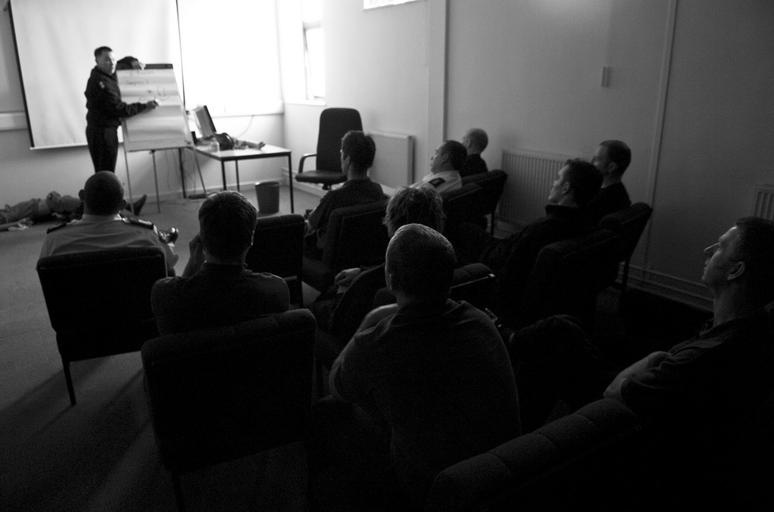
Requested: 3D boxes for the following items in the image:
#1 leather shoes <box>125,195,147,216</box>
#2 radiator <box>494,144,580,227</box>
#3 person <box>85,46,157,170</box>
[{"bbox_3d":[-2.895,-0.580,6.491,0.151,0.188,0.456,5,36,-22],"label":"leather shoes"},{"bbox_3d":[1.262,-0.611,4.670,0.708,0.732,0.075,22,30,40],"label":"radiator"},{"bbox_3d":[-3.017,-1.709,6.341,0.777,1.826,0.632,-9,40,-33],"label":"person"}]
